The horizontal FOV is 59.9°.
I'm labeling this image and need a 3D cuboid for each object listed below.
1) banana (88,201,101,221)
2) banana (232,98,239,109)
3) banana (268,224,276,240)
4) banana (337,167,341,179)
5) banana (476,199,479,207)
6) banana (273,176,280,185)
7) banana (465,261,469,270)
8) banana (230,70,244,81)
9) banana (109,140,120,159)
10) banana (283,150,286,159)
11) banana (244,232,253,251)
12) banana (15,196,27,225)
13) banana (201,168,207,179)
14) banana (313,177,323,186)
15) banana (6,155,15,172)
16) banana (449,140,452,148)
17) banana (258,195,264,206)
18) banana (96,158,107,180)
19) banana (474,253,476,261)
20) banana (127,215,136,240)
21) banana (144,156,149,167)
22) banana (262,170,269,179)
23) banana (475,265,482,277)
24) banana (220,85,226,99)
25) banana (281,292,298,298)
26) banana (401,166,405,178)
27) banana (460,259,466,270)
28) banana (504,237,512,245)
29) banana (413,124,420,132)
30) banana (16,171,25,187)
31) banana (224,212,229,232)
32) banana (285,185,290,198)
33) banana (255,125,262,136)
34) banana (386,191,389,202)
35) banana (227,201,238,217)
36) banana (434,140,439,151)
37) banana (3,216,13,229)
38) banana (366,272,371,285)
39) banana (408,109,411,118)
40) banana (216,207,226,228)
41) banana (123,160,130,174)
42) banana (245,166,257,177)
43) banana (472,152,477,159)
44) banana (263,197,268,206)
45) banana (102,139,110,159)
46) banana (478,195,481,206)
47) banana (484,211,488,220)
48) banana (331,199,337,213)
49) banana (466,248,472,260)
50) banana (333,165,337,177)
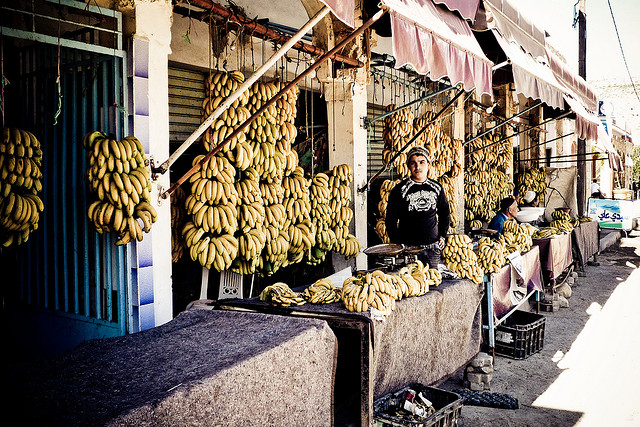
[{"bbox_3d":[-2.078,-0.022,5.134,0.034,0.153,0.113,19,11,35],"label":"banana"},{"bbox_3d":[-0.888,-1.165,5.921,0.078,0.105,0.051,-2,5,-25],"label":"banana"},{"bbox_3d":[-0.521,0.210,6.136,0.090,0.162,0.022,-3,5,-32],"label":"banana"},{"bbox_3d":[0.253,-0.513,7.090,0.016,0.109,0.027,-9,-15,4],"label":"banana"},{"bbox_3d":[2.974,-0.207,10.483,0.031,0.140,0.025,4,9,-8],"label":"banana"},{"bbox_3d":[-0.487,-0.374,6.340,0.043,0.087,0.026,-37,22,-14],"label":"banana"},{"bbox_3d":[1.691,0.597,6.359,0.046,0.096,0.024,3,-6,-2],"label":"banana"},{"bbox_3d":[-0.896,-1.512,6.104,0.132,0.114,0.164,-1,5,-8],"label":"banana"},{"bbox_3d":[-1.861,-0.581,5.055,0.090,0.170,0.032,1,4,15],"label":"banana"},{"bbox_3d":[-0.400,-0.692,6.404,0.020,0.072,0.054,4,6,44],"label":"banana"},{"bbox_3d":[-0.750,0.304,5.913,0.085,0.181,0.063,0,4,-2],"label":"banana"},{"bbox_3d":[-2.803,-0.009,5.233,0.056,0.202,0.150,7,-1,28],"label":"banana"},{"bbox_3d":[-1.196,-0.417,5.747,0.050,0.108,0.029,3,-2,-6],"label":"banana"},{"bbox_3d":[-0.019,-0.378,6.767,0.127,0.080,0.050,3,5,27],"label":"banana"},{"bbox_3d":[-2.860,-0.454,5.150,0.026,0.134,0.079,4,-2,43],"label":"banana"},{"bbox_3d":[2.214,-1.153,9.357,0.047,0.083,0.018,-15,-20,37],"label":"banana"},{"bbox_3d":[-0.641,-0.129,6.104,0.022,0.093,0.023,-24,-3,23],"label":"banana"},{"bbox_3d":[-1.959,-0.371,5.052,0.055,0.236,0.067,19,-8,-20],"label":"banana"},{"bbox_3d":[1.836,0.514,6.554,0.020,0.083,0.041,-1,15,3],"label":"banana"},{"bbox_3d":[-1.736,0.136,5.183,0.049,0.218,0.061,-11,-4,-4],"label":"banana"},{"bbox_3d":[-1.649,-0.491,5.297,0.063,0.099,0.034,-7,0,-28],"label":"banana"},{"bbox_3d":[-0.603,-0.438,6.292,0.047,0.097,0.030,17,20,-19],"label":"banana"},{"bbox_3d":[1.847,0.668,6.459,0.023,0.114,0.063,-9,7,44],"label":"banana"},{"bbox_3d":[-1.031,-1.301,5.942,0.050,0.145,0.055,-2,5,-29],"label":"banana"},{"bbox_3d":[-0.289,0.786,5.324,0.166,0.021,0.149,-2,6,-22],"label":"banana"},{"bbox_3d":[1.239,-0.604,8.188,0.037,0.140,0.102,1,5,7],"label":"banana"},{"bbox_3d":[1.647,0.585,6.360,0.058,0.116,0.024,-9,-1,18],"label":"banana"},{"bbox_3d":[2.602,0.375,7.672,0.039,0.142,0.039,-26,-10,-7],"label":"banana"},{"bbox_3d":[1.470,-1.290,8.362,0.075,0.098,0.097,1,5,9],"label":"banana"},{"bbox_3d":[-2.828,-0.312,5.255,0.022,0.106,0.072,17,2,-9],"label":"banana"},{"bbox_3d":[-0.966,0.112,5.798,0.045,0.160,0.033,-5,3,-22],"label":"banana"},{"bbox_3d":[-0.381,-0.249,6.466,0.032,0.124,0.031,4,-3,-3],"label":"banana"},{"bbox_3d":[-0.668,-0.921,6.121,0.065,0.115,0.031,5,2,-11],"label":"banana"},{"bbox_3d":[1.015,-0.239,8.224,0.040,0.177,0.033,3,-4,11],"label":"banana"},{"bbox_3d":[-0.914,-0.037,5.872,0.108,0.155,0.047,-3,5,-31],"label":"banana"},{"bbox_3d":[1.866,-1.087,8.820,0.084,0.148,0.047,-1,4,-8],"label":"banana"},{"bbox_3d":[-2.936,0.092,5.242,0.032,0.094,0.070,35,11,-11],"label":"banana"},{"bbox_3d":[0.476,0.618,5.301,0.023,0.078,0.034,15,-31,-31],"label":"banana"},{"bbox_3d":[1.319,-1.455,8.131,0.022,0.110,0.075,2,5,26],"label":"banana"},{"bbox_3d":[-1.016,0.040,5.779,0.069,0.238,0.046,-12,-13,-11],"label":"banana"},{"bbox_3d":[-1.768,-0.423,5.095,0.044,0.104,0.031,1,6,-18],"label":"banana"},{"bbox_3d":[-0.738,-0.466,6.121,0.032,0.118,0.090,-28,1,43],"label":"banana"},{"bbox_3d":[2.901,-1.080,10.377,0.042,0.038,0.168,-2,44,-1],"label":"banana"},{"bbox_3d":[-0.604,-0.137,6.253,0.038,0.077,0.021,-26,15,-26],"label":"banana"},{"bbox_3d":[-1.934,-0.590,5.035,0.042,0.184,0.054,-15,-17,28],"label":"banana"},{"bbox_3d":[3.045,-0.255,10.570,0.041,0.192,0.133,1,11,29],"label":"banana"},{"bbox_3d":[3.348,0.039,11.148,0.081,0.160,0.033,8,-2,-34],"label":"banana"},{"bbox_3d":[0.183,-0.092,7.028,0.075,0.164,0.049,-4,6,-42],"label":"banana"},{"bbox_3d":[1.736,0.466,6.404,0.068,0.095,0.025,-12,-8,-44],"label":"banana"},{"bbox_3d":[0.203,-0.535,7.124,0.048,0.133,0.130,0,5,1],"label":"banana"}]
